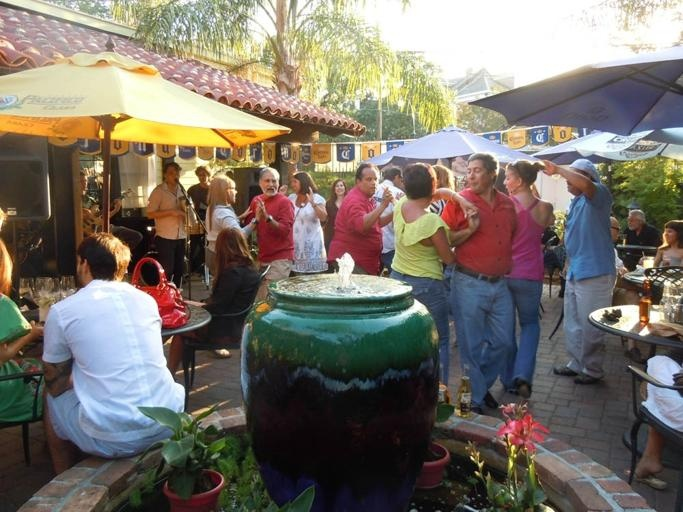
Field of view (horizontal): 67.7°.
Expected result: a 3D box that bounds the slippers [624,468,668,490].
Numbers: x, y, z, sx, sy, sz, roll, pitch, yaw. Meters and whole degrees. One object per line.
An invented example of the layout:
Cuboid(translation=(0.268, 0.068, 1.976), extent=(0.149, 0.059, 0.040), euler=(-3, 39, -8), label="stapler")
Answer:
Cuboid(translation=(2.274, 1.673, 3.835), extent=(0.125, 0.092, 0.314), euler=(-14, 14, -29), label="slippers")

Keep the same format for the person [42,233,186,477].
Cuboid(translation=(-1.489, 0.824, 3.309), extent=(0.882, 1.321, 0.449), euler=(0, 9, -18), label="person")

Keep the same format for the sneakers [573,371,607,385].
Cuboid(translation=(2.744, 1.367, 5.663), extent=(0.365, 0.136, 0.163), euler=(7, -4, 33), label="sneakers")

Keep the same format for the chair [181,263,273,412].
Cuboid(translation=(-0.984, 0.859, 5.716), extent=(1.235, 1.802, 1.097), euler=(2, -5, -5), label="chair")

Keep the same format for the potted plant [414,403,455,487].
Cuboid(translation=(0.641, 1.235, 3.414), extent=(0.192, 0.513, 0.445), euler=(5, 9, 14), label="potted plant")

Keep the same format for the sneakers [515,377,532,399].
Cuboid(translation=(1.778, 1.285, 4.957), extent=(0.147, 0.130, 0.174), euler=(0, -4, 0), label="sneakers")

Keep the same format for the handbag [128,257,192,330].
Cuboid(translation=(-1.830, 0.328, 5.229), extent=(0.631, 0.837, 0.354), euler=(-6, -1, -7), label="handbag")

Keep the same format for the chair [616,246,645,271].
Cuboid(translation=(4.703, 0.016, 8.256), extent=(0.187, 0.257, 0.344), euler=(-9, 12, -26), label="chair")

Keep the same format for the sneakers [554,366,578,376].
Cuboid(translation=(2.623, 1.338, 5.942), extent=(0.251, 0.109, 0.095), euler=(7, 0, 23), label="sneakers")

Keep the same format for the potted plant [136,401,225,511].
Cuboid(translation=(-0.875, 1.111, 3.010), extent=(0.499, 0.450, 0.578), euler=(5, 18, 1), label="potted plant")

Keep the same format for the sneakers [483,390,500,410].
Cuboid(translation=(1.475, 1.415, 5.014), extent=(0.117, 0.057, 0.197), euler=(4, 23, -2), label="sneakers")
